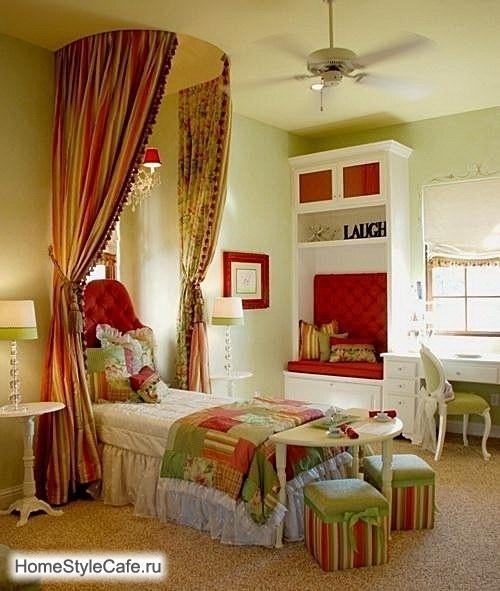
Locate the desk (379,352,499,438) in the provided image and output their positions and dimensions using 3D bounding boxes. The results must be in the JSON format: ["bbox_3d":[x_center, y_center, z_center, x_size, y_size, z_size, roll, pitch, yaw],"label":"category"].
[{"bbox_3d":[1.725,0.895,4.451,0.927,0.800,0.403,-2,-4,40],"label":"desk"}]

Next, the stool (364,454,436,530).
[{"bbox_3d":[0.862,1.110,2.856,0.377,0.336,0.374,0,0,-28],"label":"stool"}]

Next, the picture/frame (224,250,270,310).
[{"bbox_3d":[-0.057,-0.155,5.256,0.052,0.593,0.677,-2,-2,42],"label":"picture/frame"}]

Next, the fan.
[{"bbox_3d":[0.671,-1.696,3.567,0.755,0.367,0.738,-2,4,-19],"label":"fan"}]

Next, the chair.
[{"bbox_3d":[1.858,0.929,4.457,0.606,1.021,0.910,-1,1,25],"label":"chair"}]

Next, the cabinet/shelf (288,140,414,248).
[{"bbox_3d":[1.172,-1.156,5.563,1.376,1.205,0.510,1,2,40],"label":"cabinet/shelf"}]

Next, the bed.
[{"bbox_3d":[-0.354,0.672,3.350,1.721,1.373,1.110,-1,2,35],"label":"bed"}]

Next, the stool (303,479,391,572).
[{"bbox_3d":[0.456,1.082,2.427,0.345,0.327,0.362,0,0,-19],"label":"stool"}]

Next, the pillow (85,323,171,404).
[{"bbox_3d":[-0.975,0.523,3.750,0.577,0.570,0.170,17,-29,-41],"label":"pillow"}]

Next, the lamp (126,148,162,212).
[{"bbox_3d":[-0.852,-0.976,4.081,0.282,0.482,0.275,19,11,11],"label":"lamp"}]
